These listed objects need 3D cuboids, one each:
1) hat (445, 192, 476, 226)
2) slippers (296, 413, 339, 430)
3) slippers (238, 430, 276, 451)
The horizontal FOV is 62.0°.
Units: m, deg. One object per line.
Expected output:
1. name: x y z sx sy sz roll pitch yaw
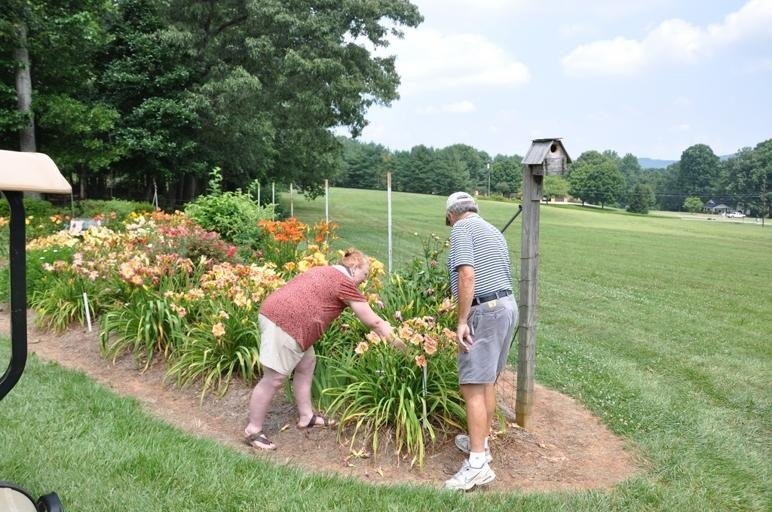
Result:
1. hat: 1.136 -0.749 9.698 0.342 0.456 0.508 0 17 4
2. slippers: -1.061 2.473 9.821 0.530 0.199 0.249 -3 6 -8
3. slippers: -1.869 2.747 9.503 0.429 0.175 0.231 10 6 32
